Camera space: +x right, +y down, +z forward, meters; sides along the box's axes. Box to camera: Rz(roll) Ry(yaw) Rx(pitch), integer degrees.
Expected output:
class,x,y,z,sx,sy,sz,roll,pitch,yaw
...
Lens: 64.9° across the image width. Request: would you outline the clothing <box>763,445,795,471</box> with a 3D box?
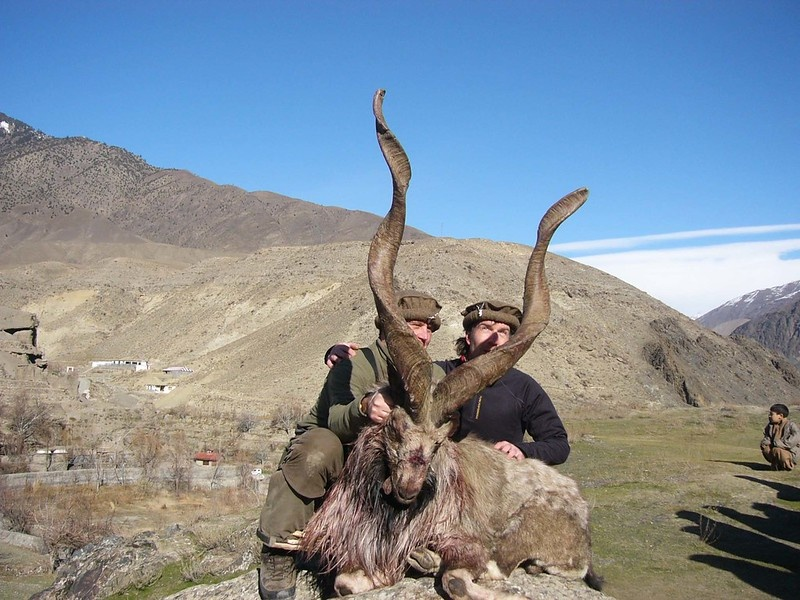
class,x,y,z,sx,sy,sz,roll,pitch,yaw
clothing,9.100,3.793,15.131,0.618,0.588,0.466,2,0,43
